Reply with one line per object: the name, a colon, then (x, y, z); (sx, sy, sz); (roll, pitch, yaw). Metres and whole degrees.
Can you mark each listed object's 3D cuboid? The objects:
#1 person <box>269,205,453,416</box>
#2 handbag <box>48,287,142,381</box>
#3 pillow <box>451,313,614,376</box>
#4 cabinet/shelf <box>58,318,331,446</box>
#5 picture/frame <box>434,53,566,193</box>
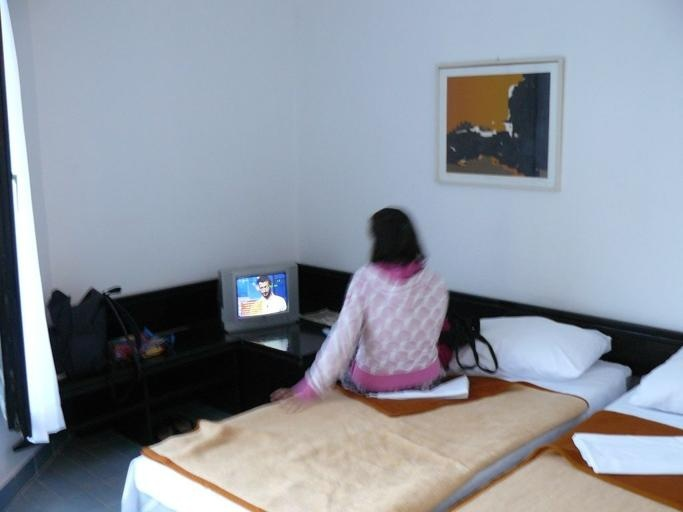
person: (0.013, 0.255, 2.864); (1.281, 1.151, 0.816); (-3, 15, -10)
handbag: (-1.522, 0.473, 3.259); (0.531, 0.577, 0.428); (-5, -3, -41)
pillow: (1.070, 0.492, 2.847); (0.528, 0.180, 0.427); (1, 12, 26)
cabinet/shelf: (-1.037, 0.838, 3.419); (1.398, 0.788, 0.898); (1, -1, -35)
picture/frame: (0.978, -0.818, 3.124); (0.787, 0.814, 0.035); (8, 14, 36)
